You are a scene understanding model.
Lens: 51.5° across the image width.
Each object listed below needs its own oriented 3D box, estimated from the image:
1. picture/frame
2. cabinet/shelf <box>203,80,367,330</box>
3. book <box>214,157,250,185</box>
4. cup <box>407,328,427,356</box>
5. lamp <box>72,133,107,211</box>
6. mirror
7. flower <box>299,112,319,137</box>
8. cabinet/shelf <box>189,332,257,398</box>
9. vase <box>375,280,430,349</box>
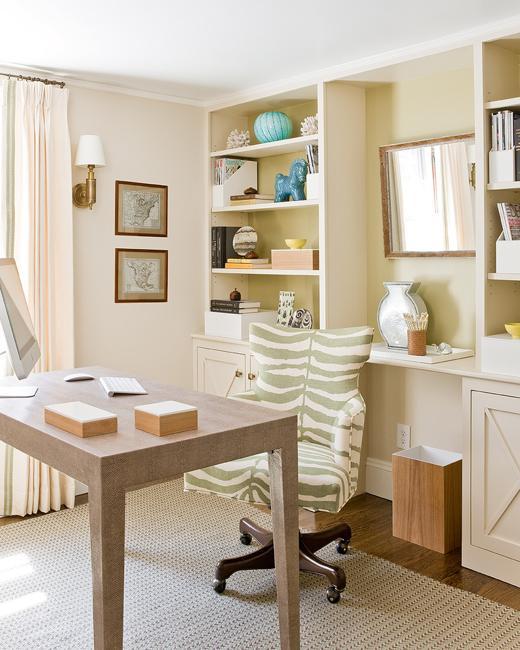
[{"bbox_3d":[-0.727,-0.507,3.333,0.366,0.736,0.019,-3,5,-42],"label":"picture/frame"},{"bbox_3d":[0.141,-0.710,3.303,0.392,1.412,1.083,-3,5,-40],"label":"cabinet/shelf"},{"bbox_3d":[-0.186,-1.014,3.543,0.183,0.176,0.086,-3,4,-43],"label":"book"},{"bbox_3d":[0.723,0.077,2.485,0.078,0.114,0.125,1,4,14],"label":"cup"},{"bbox_3d":[-0.951,-0.858,3.016,0.174,0.397,0.178,-2,4,-34],"label":"lamp"},{"bbox_3d":[0.848,-0.656,2.687,0.052,0.740,0.633,-5,5,-42],"label":"mirror"},{"bbox_3d":[0.275,-1.091,2.936,0.069,0.145,0.188,0,4,-7],"label":"flower"},{"bbox_3d":[-0.202,0.231,3.207,0.150,0.381,0.381,1,-1,-40],"label":"cabinet/shelf"},{"bbox_3d":[0.719,-0.054,2.671,0.139,0.457,0.311,-3,5,-35],"label":"vase"}]
